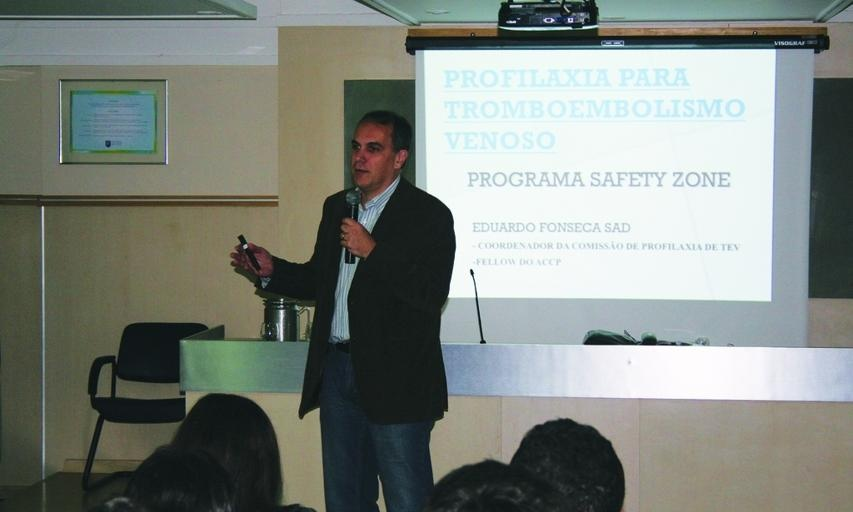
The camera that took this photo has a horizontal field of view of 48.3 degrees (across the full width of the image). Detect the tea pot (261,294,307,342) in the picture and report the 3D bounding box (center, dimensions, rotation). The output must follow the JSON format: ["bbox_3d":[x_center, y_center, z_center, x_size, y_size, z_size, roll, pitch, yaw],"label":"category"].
[{"bbox_3d":[-0.966,0.455,6.746,0.397,0.283,0.233,2,-4,-10],"label":"tea pot"}]

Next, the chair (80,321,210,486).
[{"bbox_3d":[-2.090,1.063,7.088,0.744,1.047,0.688,2,3,2],"label":"chair"}]

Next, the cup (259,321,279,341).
[{"bbox_3d":[-1.114,0.532,6.732,0.168,0.154,0.108,-3,-6,18],"label":"cup"}]
